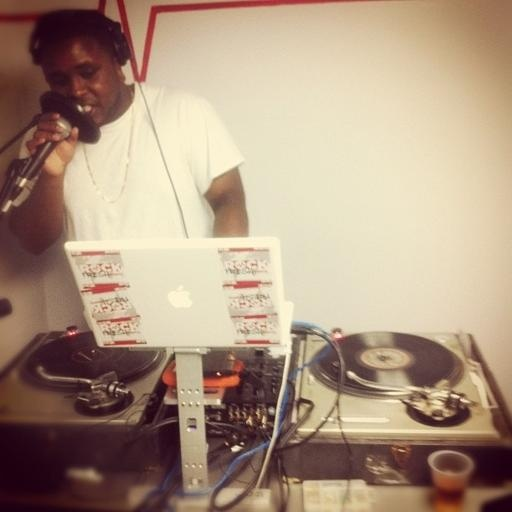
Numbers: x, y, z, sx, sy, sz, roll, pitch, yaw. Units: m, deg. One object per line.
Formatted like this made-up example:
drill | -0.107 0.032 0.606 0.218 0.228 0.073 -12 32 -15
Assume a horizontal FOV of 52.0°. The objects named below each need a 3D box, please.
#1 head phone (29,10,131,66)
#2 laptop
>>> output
head phone | -0.580 -0.703 1.683 0.326 0.175 0.179 -3 14 -4
laptop | -0.117 0.091 1.222 0.448 0.242 0.316 -2 5 21
